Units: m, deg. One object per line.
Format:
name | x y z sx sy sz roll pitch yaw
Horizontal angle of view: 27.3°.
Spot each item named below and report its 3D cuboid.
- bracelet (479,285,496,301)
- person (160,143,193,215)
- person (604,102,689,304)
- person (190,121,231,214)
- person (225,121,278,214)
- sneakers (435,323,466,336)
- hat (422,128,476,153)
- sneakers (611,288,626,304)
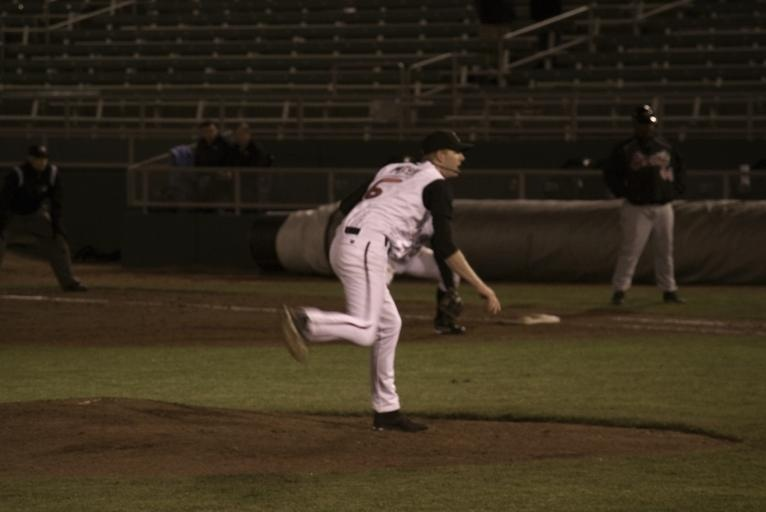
bracelet | 1.557 0.562 23.992 0.127 0.093 0.401 2 10 11
person | -4.324 -1.754 33.646 0.475 1.200 0.945 7 0 -36
person | 4.672 -0.885 28.361 1.372 3.547 0.542 2 8 7
person | -3.686 -1.913 33.468 0.643 1.395 1.208 16 -8 -30
person | -2.846 -1.955 33.525 0.931 1.598 0.789 -1 8 -9
sneakers | 1.082 1.111 23.846 0.636 0.226 0.195 -2 5 -14
hat | 0.903 -1.667 23.036 0.604 0.274 0.356 -9 7 5
sneakers | 4.235 0.750 28.755 0.145 0.241 0.371 1 5 2
